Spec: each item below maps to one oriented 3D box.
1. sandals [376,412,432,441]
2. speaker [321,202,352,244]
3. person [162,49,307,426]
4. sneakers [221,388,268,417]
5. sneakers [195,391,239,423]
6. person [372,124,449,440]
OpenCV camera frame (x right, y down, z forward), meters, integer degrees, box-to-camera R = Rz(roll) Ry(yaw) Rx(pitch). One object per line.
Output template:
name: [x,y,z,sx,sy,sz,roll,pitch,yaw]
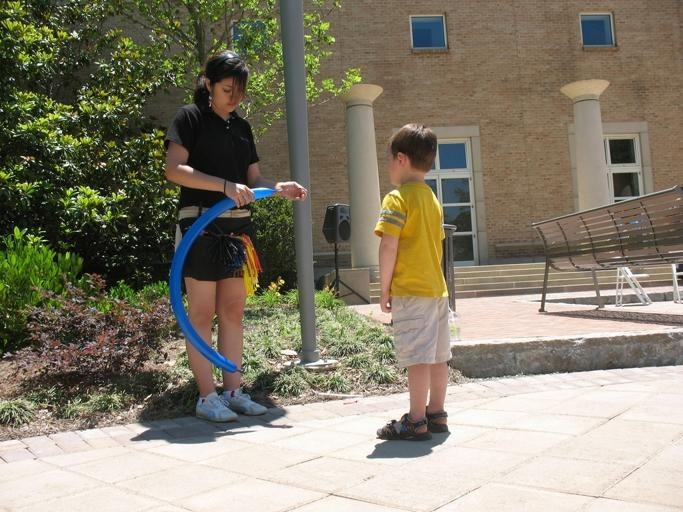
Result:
sandals: [0.403,1.084,4.054,0.337,0.142,0.137,2,-6,5]
speaker: [-0.094,-0.503,9.997,0.347,0.587,0.464,0,0,29]
person: [-0.749,-0.106,4.632,1.079,2.553,0.908,-1,0,-40]
sneakers: [-0.725,1.059,4.610,0.407,0.155,0.139,2,1,16]
sneakers: [-0.904,1.066,4.523,0.334,0.143,0.146,2,0,33]
person: [0.461,0.155,4.127,0.464,1.996,0.680,-1,10,9]
